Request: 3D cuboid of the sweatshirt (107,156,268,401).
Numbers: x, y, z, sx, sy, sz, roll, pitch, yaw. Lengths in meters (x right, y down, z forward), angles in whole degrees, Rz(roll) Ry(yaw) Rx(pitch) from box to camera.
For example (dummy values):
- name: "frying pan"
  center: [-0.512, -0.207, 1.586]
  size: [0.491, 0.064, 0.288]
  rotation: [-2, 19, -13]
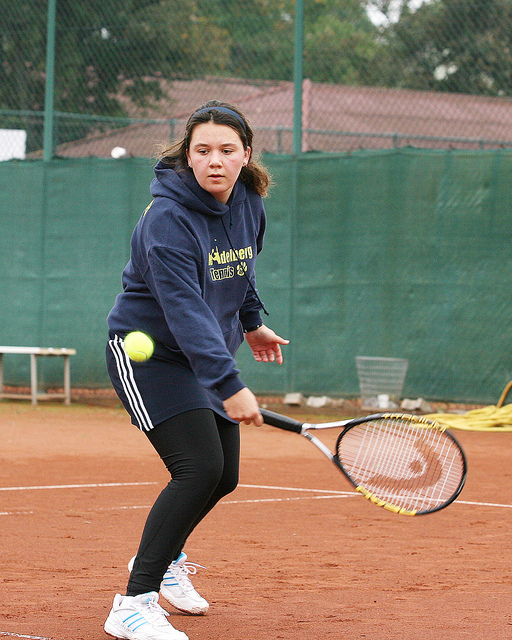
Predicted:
- name: "sweatshirt"
  center: [-0.234, -0.152, 2.987]
  size: [0.492, 0.754, 0.606]
  rotation: [1, 4, -1]

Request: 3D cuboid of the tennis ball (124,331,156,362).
- name: "tennis ball"
  center: [-0.357, 0.085, 2.917]
  size: [0.092, 0.090, 0.091]
  rotation: [32, 9, -5]

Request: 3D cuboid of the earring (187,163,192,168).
- name: "earring"
  center: [-0.211, -0.493, 2.977]
  size: [0.009, 0.002, 0.006]
  rotation: [-23, 9, 2]

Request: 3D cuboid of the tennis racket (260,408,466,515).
- name: "tennis racket"
  center: [0.488, 0.562, 3.488]
  size: [0.552, 0.475, 0.843]
  rotation: [1, 3, 12]

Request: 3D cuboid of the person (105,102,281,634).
- name: "person"
  center: [-0.231, 0.132, 2.981]
  size: [0.486, 1.673, 0.567]
  rotation: [0, 4, -5]
